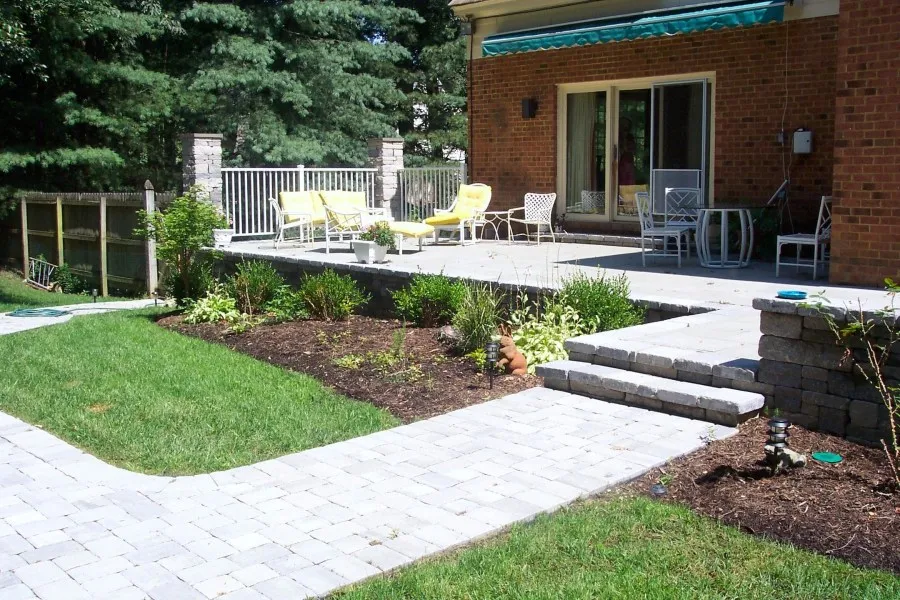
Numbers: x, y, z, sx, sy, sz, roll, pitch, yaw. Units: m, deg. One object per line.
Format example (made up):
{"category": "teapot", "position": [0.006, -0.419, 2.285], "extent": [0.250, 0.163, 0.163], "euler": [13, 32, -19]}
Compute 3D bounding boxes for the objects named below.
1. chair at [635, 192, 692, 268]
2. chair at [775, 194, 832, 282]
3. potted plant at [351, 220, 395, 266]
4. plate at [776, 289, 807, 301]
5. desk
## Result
{"category": "chair", "position": [4.023, -1.307, 14.587], "extent": [0.895, 1.363, 0.854], "euler": [5, 5, 27]}
{"category": "chair", "position": [5.740, -1.107, 12.461], "extent": [0.634, 1.199, 1.589], "euler": [6, 10, 34]}
{"category": "potted plant", "position": [-1.279, -1.025, 13.989], "extent": [0.573, 0.718, 0.696], "euler": [3, -4, -37]}
{"category": "plate", "position": [3.292, -0.058, 7.504], "extent": [0.271, 0.035, 0.285], "euler": [3, 16, 21]}
{"category": "desk", "position": [4.876, -1.142, 13.843], "extent": [1.314, 1.062, 1.373], "euler": [2, 4, 41]}
